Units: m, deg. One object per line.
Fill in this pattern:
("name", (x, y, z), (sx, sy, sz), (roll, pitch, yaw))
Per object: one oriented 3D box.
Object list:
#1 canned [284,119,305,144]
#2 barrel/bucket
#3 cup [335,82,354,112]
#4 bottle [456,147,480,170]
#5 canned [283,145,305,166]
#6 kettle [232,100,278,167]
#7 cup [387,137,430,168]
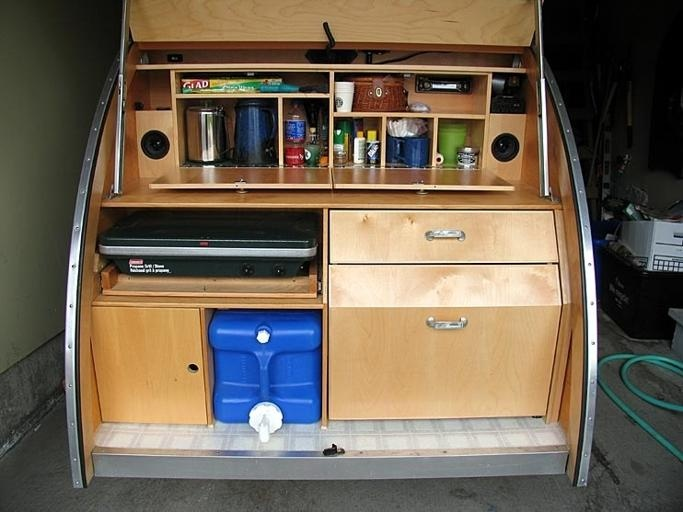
("canned", (-0.234, -0.648, 2.804), (0.109, 0.127, 0.112), (1, 22, 2))
("barrel/bucket", (-0.326, 0.497, 2.514), (0.484, 0.487, 0.496), (0, 10, 0))
("cup", (0.010, -0.805, 2.732), (0.133, 0.151, 0.131), (-1, 14, 0))
("bottle", (0.638, -0.500, 2.761), (0.114, 0.108, 0.116), (4, 19, 19))
("canned", (-0.240, -0.509, 2.757), (0.099, 0.086, 0.099), (-23, 32, -39))
("kettle", (-0.436, -0.620, 2.733), (0.207, 0.325, 0.337), (-15, 27, -38))
("cup", (0.330, -0.536, 2.780), (0.217, 0.158, 0.133), (-4, 17, -11))
